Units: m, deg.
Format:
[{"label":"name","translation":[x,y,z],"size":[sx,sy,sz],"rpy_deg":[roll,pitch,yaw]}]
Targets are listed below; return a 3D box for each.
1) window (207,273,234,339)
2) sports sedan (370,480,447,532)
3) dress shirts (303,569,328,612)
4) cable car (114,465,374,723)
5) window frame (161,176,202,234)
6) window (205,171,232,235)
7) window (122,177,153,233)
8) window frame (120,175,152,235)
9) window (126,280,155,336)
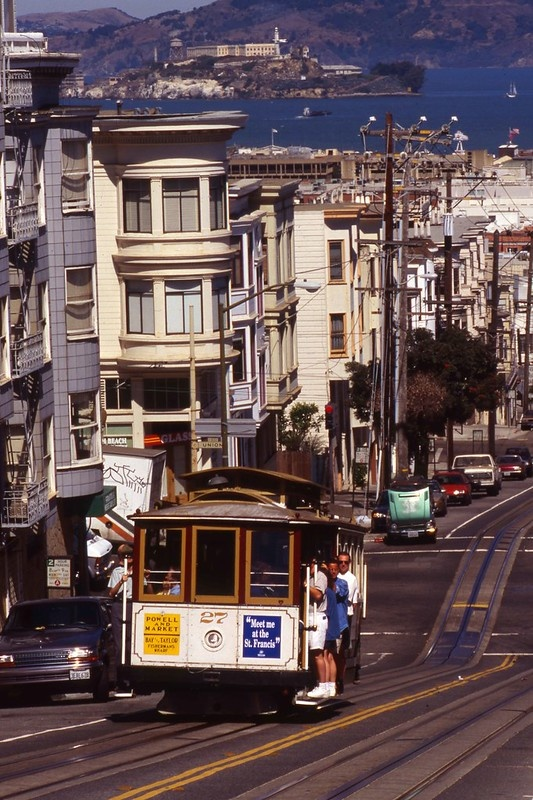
[{"label":"window","translation":[-1.298,-2.446,48.561],"size":[0.091,1.428,1.749],"rpy_deg":[-4,1,-18]},{"label":"sports sedan","translation":[3.884,2.998,51.711],"size":[1.035,1.028,2.765],"rpy_deg":[-4,-3,3]},{"label":"dress shirts","translation":[0.548,2.133,20.806],"size":[0.354,0.536,0.347],"rpy_deg":[-1,-18,7]},{"label":"cable car","translation":[-0.242,2.312,22.175],"size":[2.239,2.731,3.174],"rpy_deg":[0,3,13]},{"label":"window frame","translation":[-2.241,-4.966,47.501],"size":[1.139,2.146,0.087],"rpy_deg":[0,-1,-13]},{"label":"window","translation":[-1.414,-5.125,48.693],"size":[0.681,1.477,0.811],"rpy_deg":[-1,8,-2]},{"label":"window","translation":[-3.275,-4.926,47.568],"size":[0.643,1.448,0.061],"rpy_deg":[-2,2,-24]},{"label":"window frame","translation":[-3.313,-4.944,47.645],"size":[0.710,1.573,0.032],"rpy_deg":[1,-19,-9]},{"label":"window","translation":[-3.261,-2.369,48.202],"size":[0.762,1.668,0.162],"rpy_deg":[1,36,-1]}]
